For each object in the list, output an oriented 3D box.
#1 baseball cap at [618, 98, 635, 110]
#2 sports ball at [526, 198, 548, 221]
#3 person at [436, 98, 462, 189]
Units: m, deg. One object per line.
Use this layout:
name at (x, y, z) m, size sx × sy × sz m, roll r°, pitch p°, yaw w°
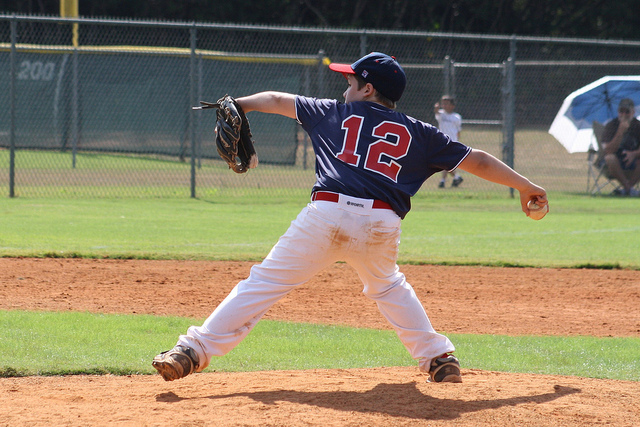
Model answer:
baseball cap at (6.420, -2.267, 24.730) m, size 0.256 × 0.179 × 0.255 m, roll 2°, pitch 1°, yaw 12°
sports ball at (3.061, -0.036, 16.618) m, size 0.245 × 0.297 × 0.244 m, roll -3°, pitch -9°, yaw 0°
person at (2.693, -1.428, 25.785) m, size 0.776 × 2.018 × 0.544 m, roll -2°, pitch 31°, yaw -2°
